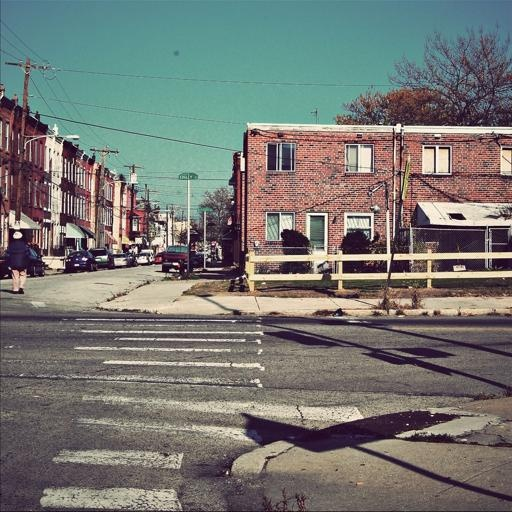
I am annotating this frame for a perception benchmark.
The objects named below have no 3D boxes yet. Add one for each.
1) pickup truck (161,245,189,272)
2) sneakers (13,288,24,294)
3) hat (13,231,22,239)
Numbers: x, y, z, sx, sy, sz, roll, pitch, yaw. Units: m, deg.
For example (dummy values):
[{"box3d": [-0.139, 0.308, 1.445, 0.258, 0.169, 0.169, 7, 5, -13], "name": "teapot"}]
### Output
[{"box3d": [-4.507, 0.241, 45.261, 1.321, 1.509, 2.008, 1, 6, -8], "name": "pickup truck"}, {"box3d": [-6.942, 1.033, 24.132, 0.390, 0.153, 0.139, 4, 4, 30], "name": "sneakers"}, {"box3d": [-6.597, -0.548, 22.776, 0.215, 0.247, 0.813, 0, 6, -16], "name": "hat"}]
